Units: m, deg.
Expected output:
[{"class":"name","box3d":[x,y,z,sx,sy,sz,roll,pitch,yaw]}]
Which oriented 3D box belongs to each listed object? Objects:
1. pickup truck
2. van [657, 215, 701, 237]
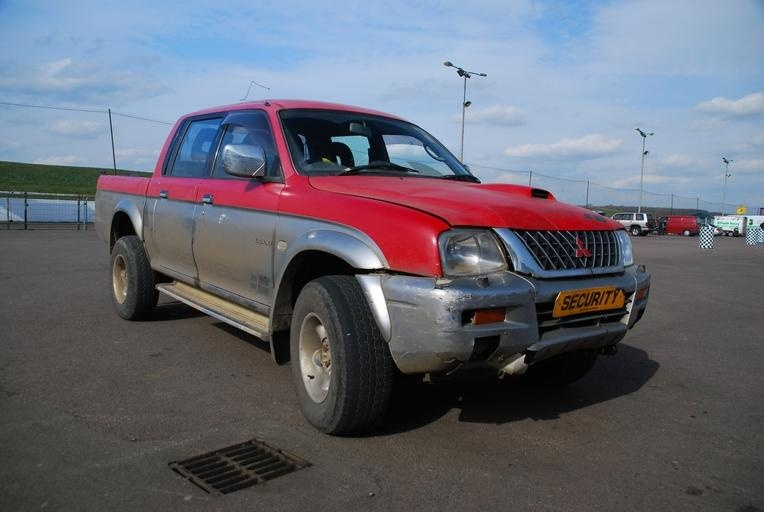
[{"class":"pickup truck","box3d":[-0.809,-0.306,5.048,2.874,1.948,5.721,-1,8,-41]},{"class":"van","box3d":[34.980,-3.547,54.031,3.210,1.802,4.134,-1,7,-31]}]
